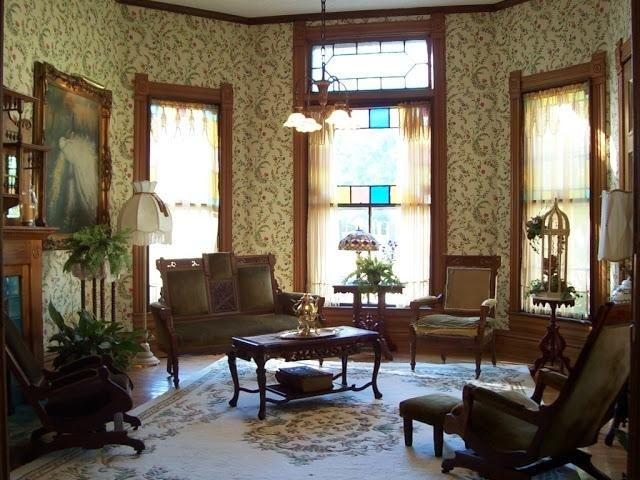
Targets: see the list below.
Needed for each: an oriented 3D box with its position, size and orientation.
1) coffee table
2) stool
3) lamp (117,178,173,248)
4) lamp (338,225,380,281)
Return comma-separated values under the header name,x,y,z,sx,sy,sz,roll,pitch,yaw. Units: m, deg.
name,x,y,z,sx,sy,sz,roll,pitch,yaw
coffee table,0.626,1.039,6.614,0.839,0.927,0.885,-1,-4,1
stool,0.799,1.279,3.717,0.395,0.363,0.405,0,-2,38
lamp,-2.018,-0.315,5.885,0.659,0.764,0.629,-1,-1,44
lamp,0.411,0.160,6.420,0.482,0.732,0.508,1,-3,-1
